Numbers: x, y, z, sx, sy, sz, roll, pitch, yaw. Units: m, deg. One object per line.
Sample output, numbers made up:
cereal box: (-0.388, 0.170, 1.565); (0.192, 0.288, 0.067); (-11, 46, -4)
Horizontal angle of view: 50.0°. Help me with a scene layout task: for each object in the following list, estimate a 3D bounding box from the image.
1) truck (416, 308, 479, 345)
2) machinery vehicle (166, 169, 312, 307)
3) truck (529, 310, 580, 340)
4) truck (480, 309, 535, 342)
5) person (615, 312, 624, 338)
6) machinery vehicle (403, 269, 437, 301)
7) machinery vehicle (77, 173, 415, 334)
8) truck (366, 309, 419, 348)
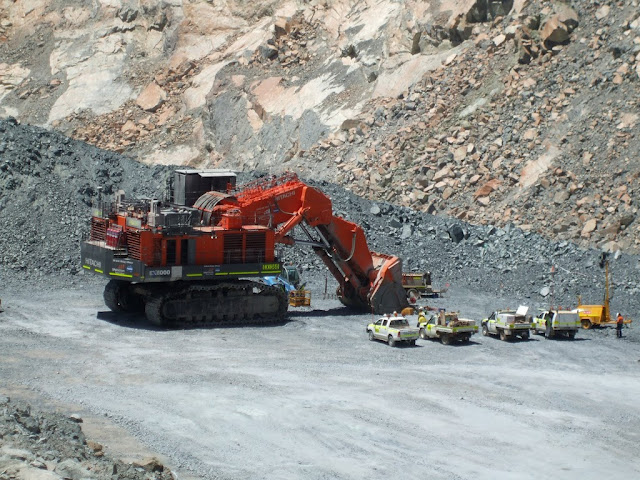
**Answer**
truck: (5.468, 3.818, 30.526); (1.503, 1.035, 2.371); (-5, 12, -36)
machinery vehicle: (-4.765, -0.652, 35.735); (6.494, 4.839, 7.919); (-2, 4, -15)
truck: (10.574, 3.751, 31.456); (1.369, 1.067, 2.056); (0, 8, -17)
truck: (8.425, 3.825, 30.880); (1.224, 0.869, 1.907); (-1, 7, -29)
person: (13.532, 3.912, 31.162); (0.290, 1.030, 0.588); (8, 13, 25)
machinery vehicle: (5.475, 2.479, 38.196); (1.978, 1.020, 1.185); (-1, 3, 1)
machinery vehicle: (-4.893, 0.411, 34.928); (17.335, 6.442, 7.127); (-1, 5, -17)
truck: (3.094, 3.857, 29.772); (1.185, 0.904, 2.296); (-2, 8, -31)
